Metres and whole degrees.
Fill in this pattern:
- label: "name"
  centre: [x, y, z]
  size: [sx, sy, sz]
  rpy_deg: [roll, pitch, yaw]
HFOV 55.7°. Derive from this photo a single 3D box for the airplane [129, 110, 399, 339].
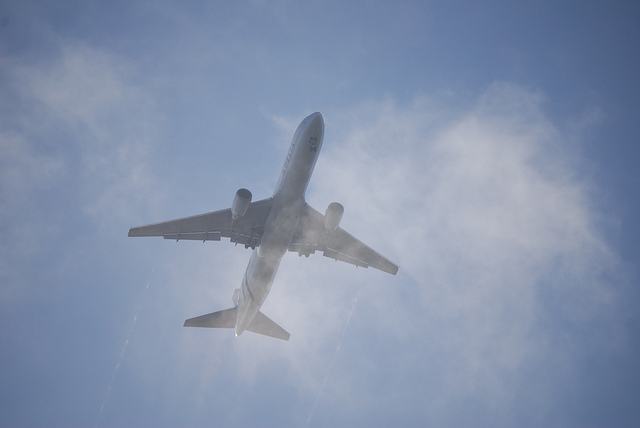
- label: "airplane"
  centre: [-3.781, 1.776, 56.273]
  size: [22.759, 5.520, 21.567]
  rpy_deg: [18, -85, -26]
